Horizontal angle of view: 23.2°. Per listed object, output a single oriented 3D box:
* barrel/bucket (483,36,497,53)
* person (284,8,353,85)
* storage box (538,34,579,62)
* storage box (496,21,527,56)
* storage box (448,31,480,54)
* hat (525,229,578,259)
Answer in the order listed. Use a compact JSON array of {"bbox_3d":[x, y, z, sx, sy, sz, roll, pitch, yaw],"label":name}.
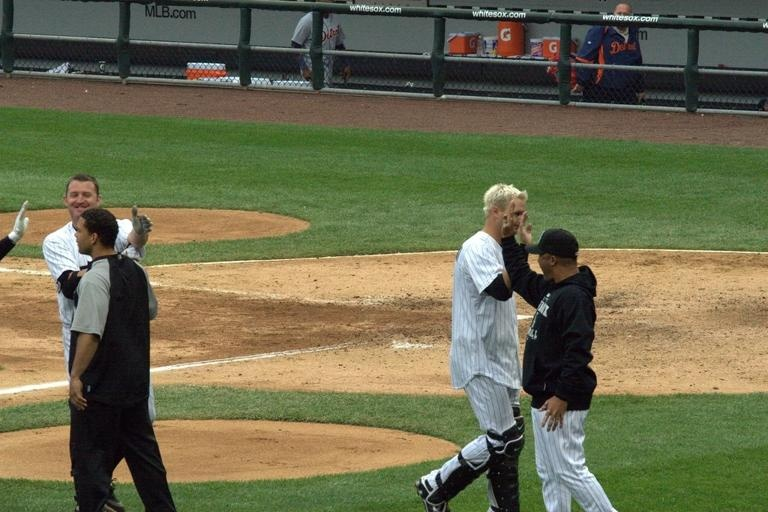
[{"bbox_3d":[2.465,-4.836,43.385,0.302,0.423,0.410,1,5,-3],"label":"barrel/bucket"},{"bbox_3d":[-1.422,-4.466,41.016,0.972,1.556,1.448,4,6,24],"label":"person"},{"bbox_3d":[3.948,-4.615,42.037,0.851,0.575,0.804,0,5,-2],"label":"storage box"},{"bbox_3d":[2.928,-4.983,43.306,0.801,1.170,0.744,2,11,2],"label":"storage box"},{"bbox_3d":[1.875,-4.840,43.185,0.700,0.606,0.969,3,8,27],"label":"storage box"},{"bbox_3d":[2.323,-0.165,25.479,0.578,0.298,0.375,10,8,12],"label":"hat"}]
